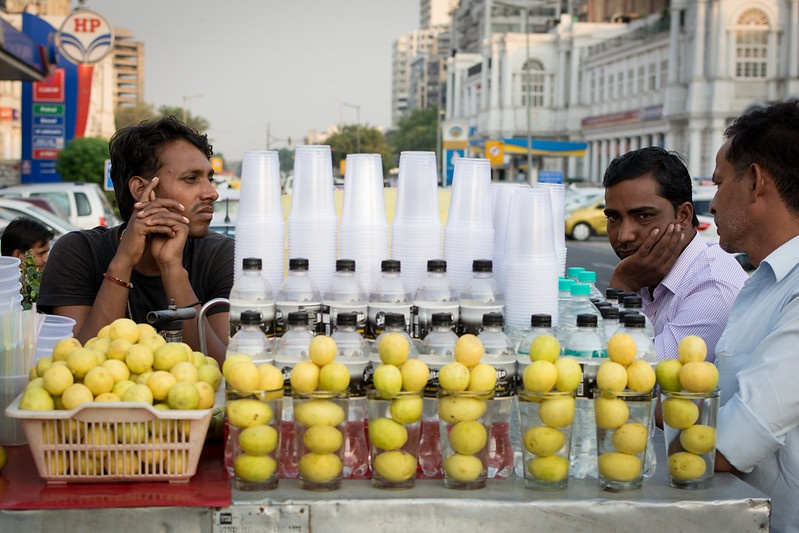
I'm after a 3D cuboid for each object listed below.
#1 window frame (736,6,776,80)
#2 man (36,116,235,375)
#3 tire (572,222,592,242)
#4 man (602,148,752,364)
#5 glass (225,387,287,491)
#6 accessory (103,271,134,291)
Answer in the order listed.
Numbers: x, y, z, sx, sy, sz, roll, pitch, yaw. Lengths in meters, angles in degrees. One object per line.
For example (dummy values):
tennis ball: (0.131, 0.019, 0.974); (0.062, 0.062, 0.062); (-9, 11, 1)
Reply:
window frame: (16.469, -10.442, 51.298); (1.484, 2.849, 1.271); (-1, 0, 15)
man: (-1.434, -0.043, 6.140); (1.125, 1.590, 0.949); (3, -4, 0)
tire: (4.877, -0.981, 29.326); (0.442, 0.457, 0.144); (5, 8, -3)
man: (1.513, -0.008, 6.503); (0.963, 1.372, 0.947); (2, 14, 30)
glass: (-0.609, 0.724, 4.603); (0.226, 0.428, 0.120); (-1, 0, -11)
accessory: (-1.491, 0.073, 5.800); (0.098, 0.028, 0.101); (24, -6, 17)
